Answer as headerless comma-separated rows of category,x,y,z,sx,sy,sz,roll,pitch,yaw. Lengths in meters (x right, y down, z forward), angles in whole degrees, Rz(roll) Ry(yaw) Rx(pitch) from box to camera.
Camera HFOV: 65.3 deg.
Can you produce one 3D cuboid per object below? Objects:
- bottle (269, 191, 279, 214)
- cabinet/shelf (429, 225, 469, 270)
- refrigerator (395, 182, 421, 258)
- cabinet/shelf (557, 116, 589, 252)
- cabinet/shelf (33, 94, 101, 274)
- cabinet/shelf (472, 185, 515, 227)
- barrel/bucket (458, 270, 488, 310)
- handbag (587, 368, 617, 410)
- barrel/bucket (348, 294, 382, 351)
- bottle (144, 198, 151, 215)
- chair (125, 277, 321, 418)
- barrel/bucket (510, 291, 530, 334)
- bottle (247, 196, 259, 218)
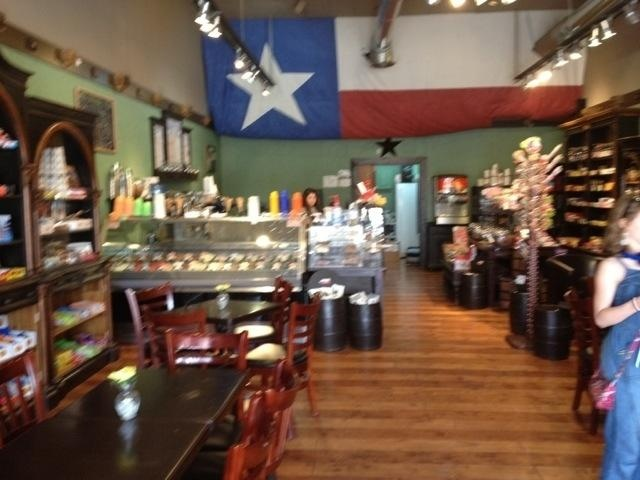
bottle,-0.549,-0.462,6.071,0.118,0.260,0.248,-2,12,-4
cabinet/shelf,2.270,0.085,8.826,1.016,0.857,0.373,0,0,3
refrigerator,2.190,-0.610,12.677,0.564,1.698,0.582,0,12,7
cabinet/shelf,4.213,-0.969,8.401,0.428,1.995,1.486,4,13,23
cabinet/shelf,-2.514,-0.553,4.854,0.418,1.577,1.038,-1,12,1
cabinet/shelf,3.347,-0.664,9.817,0.469,0.767,1.453,-4,12,-13
barrel/bucket,2.227,0.724,7.386,0.481,0.670,0.492,-2,1,0
handbag,1.744,0.941,3.087,0.110,0.260,0.208,13,-3,-1
barrel/bucket,0.603,0.936,5.743,0.564,0.553,0.540,-1,0,0
bottle,-2.176,-0.408,6.342,0.064,0.160,0.122,6,14,30
chair,-0.706,0.840,3.966,1.101,1.526,1.037,-4,6,-32
barrel/bucket,2.374,0.874,5.971,0.275,0.508,0.204,9,16,41
bottle,-0.766,-0.394,5.841,0.111,0.217,0.155,-5,12,-16
